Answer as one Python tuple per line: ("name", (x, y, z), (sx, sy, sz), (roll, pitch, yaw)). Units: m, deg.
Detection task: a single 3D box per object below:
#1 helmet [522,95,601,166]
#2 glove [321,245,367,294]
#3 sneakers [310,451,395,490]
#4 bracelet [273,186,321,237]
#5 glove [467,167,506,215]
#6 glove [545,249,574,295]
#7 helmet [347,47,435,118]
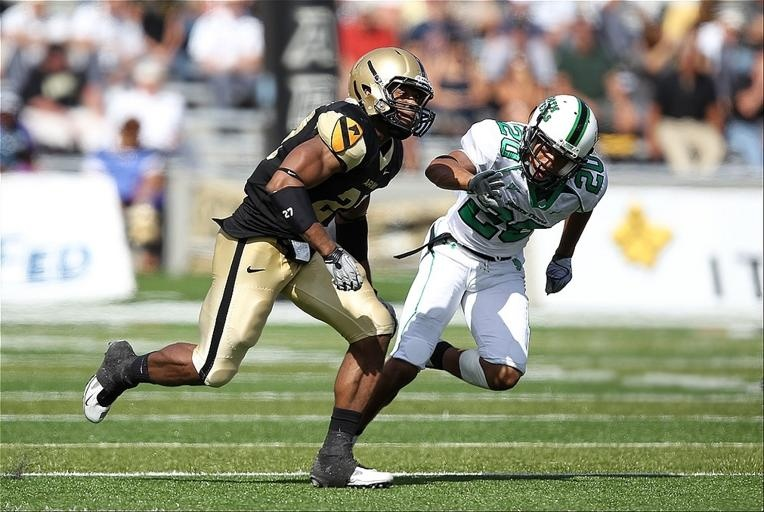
("helmet", (1.276, -0.889, 7.227), (0.414, 0.417, 0.515), (26, 20, -8))
("glove", (-0.244, 0.085, 6.636), (0.194, 0.319, 0.093), (-34, 7, -4))
("sneakers", (-0.176, 1.413, 6.864), (0.599, 0.272, 0.216), (-2, -15, 21))
("bracelet", (-0.560, -0.298, 6.636), (0.295, 0.301, 0.087), (1, 10, -6))
("glove", (0.688, -0.470, 7.121), (0.253, 0.145, 0.314), (50, -5, -34))
("glove", (1.321, 0.124, 7.645), (0.187, 0.304, 0.208), (-5, 21, -45))
("helmet", (0.064, -1.241, 7.142), (0.615, 0.447, 0.474), (8, 16, 9))
